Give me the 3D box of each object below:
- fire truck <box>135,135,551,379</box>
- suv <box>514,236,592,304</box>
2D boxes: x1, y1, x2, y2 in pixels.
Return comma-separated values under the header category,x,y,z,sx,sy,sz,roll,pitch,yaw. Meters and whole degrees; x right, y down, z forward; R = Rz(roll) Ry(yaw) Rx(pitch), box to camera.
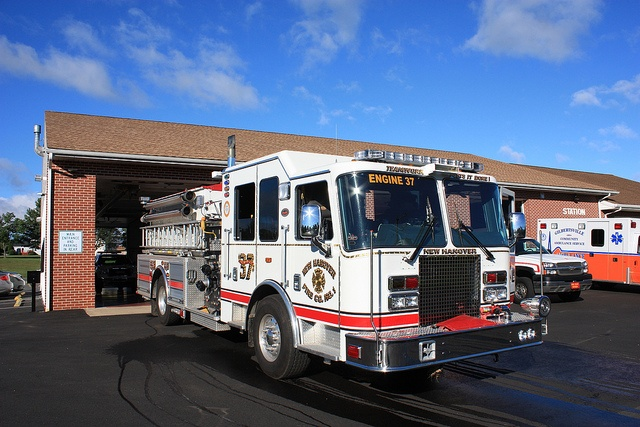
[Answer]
category,x,y,z,sx,sy,sz,roll,pitch,yaw
fire truck,-1.066,1.050,11.827,4.442,4.263,11.989,5,-5,-35
suv,7.298,1.987,17.373,2.615,2.104,4.710,1,-2,-19
